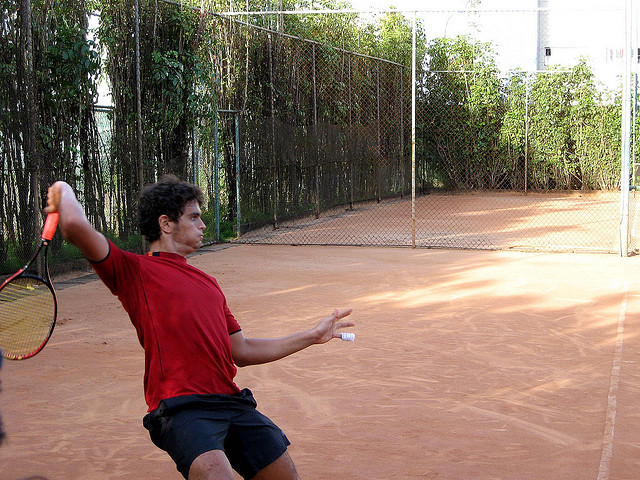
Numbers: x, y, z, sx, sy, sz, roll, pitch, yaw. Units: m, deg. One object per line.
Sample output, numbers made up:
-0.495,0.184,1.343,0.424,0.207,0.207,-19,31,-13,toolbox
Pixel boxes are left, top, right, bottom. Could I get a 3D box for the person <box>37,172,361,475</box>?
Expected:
-0.566,0.371,2.617,0.955,1.302,0.687,3,10,18,person
